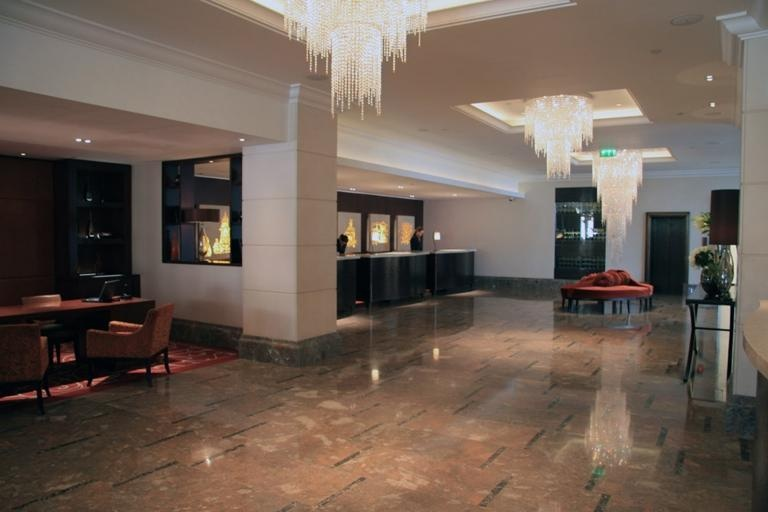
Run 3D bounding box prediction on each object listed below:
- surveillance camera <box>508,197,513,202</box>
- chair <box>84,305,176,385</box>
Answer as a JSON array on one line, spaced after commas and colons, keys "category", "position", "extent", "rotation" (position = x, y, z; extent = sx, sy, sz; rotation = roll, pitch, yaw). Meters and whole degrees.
[{"category": "surveillance camera", "position": [4.783, -2.099, 18.825], "extent": [0.211, 0.165, 0.339], "rotation": [1, 6, 10]}, {"category": "chair", "position": [-3.757, 1.364, 8.106], "extent": [1.345, 1.479, 1.095], "rotation": [2, -2, -3]}]
